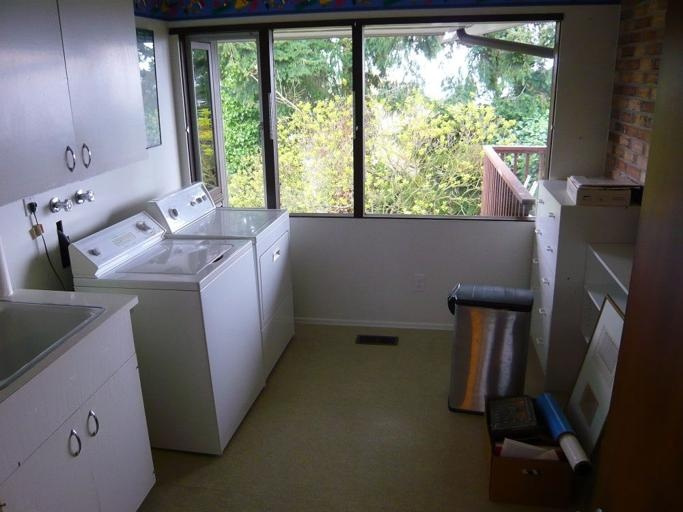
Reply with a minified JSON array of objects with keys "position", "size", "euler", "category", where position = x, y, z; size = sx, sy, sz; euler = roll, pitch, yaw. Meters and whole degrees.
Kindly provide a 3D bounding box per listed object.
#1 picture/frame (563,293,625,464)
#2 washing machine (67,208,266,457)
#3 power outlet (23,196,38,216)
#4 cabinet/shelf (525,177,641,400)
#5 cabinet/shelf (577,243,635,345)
[{"position":[1.364,0.632,2.681],"size":[0.167,0.701,0.548],"euler":[6,20,17],"category":"picture/frame"},{"position":[-0.989,0.431,3.181],"size":[0.873,1.277,0.976],"euler":[-1,16,1],"category":"washing machine"},{"position":[-1.614,-0.255,2.656],"size":[0.056,0.113,0.108],"euler":[2,13,-3],"category":"power outlet"},{"position":[1.391,0.187,2.869],"size":[0.435,1.084,1.193],"euler":[3,15,14],"category":"cabinet/shelf"},{"position":[1.432,0.177,2.711],"size":[0.168,0.466,0.510],"euler":[0,14,8],"category":"cabinet/shelf"}]
